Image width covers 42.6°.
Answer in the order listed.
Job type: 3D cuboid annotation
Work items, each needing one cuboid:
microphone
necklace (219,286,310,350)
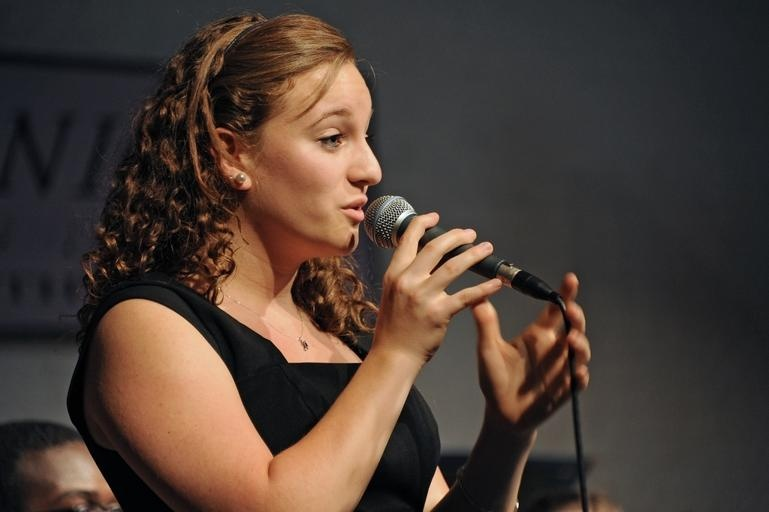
[{"bbox_3d":[0.244,-0.014,3.420,0.607,0.172,0.162,27,-5,39],"label":"microphone"},{"bbox_3d":[-0.387,0.199,3.095,0.234,0.031,0.039,46,-33,11],"label":"necklace"}]
